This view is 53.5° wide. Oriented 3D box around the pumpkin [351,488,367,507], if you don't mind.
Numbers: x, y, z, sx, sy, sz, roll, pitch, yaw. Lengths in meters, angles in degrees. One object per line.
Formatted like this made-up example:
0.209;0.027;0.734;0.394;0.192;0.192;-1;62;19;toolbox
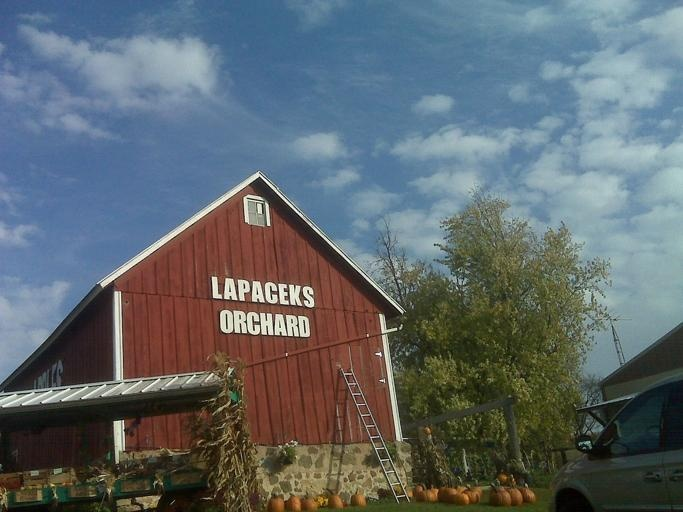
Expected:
0.512;6.958;19.570;0.411;0.573;0.430;-11;-17;6;pumpkin

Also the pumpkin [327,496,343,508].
-0.192;6.930;19.179;0.421;0.366;0.342;-8;-24;3;pumpkin
